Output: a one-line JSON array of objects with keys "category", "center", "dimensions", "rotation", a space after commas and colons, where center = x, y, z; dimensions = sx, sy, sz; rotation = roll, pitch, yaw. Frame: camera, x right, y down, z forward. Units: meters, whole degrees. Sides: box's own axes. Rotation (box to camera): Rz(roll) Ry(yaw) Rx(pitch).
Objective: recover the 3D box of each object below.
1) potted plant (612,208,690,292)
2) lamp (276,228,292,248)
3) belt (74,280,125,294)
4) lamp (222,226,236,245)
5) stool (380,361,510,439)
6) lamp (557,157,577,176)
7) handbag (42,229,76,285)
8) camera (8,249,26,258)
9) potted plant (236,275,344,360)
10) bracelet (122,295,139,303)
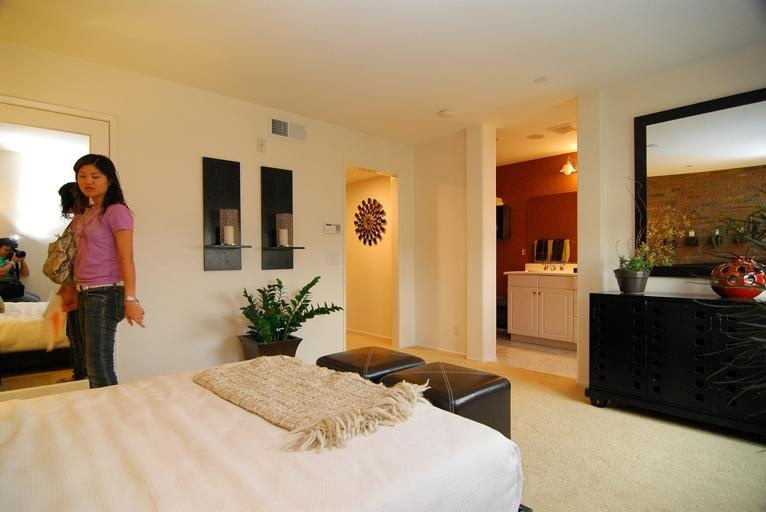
[{"category": "potted plant", "center": [2.395, -0.062, 4.448], "dimensions": [0.605, 0.761, 0.446], "rotation": [-8, 15, -32]}, {"category": "lamp", "center": [-1.045, -0.196, 5.127], "dimensions": [0.141, 0.184, 0.096], "rotation": [-3, 13, -14]}, {"category": "belt", "center": [-2.048, 0.217, 3.506], "dimensions": [0.318, 0.088, 0.079], "rotation": [-2, 12, -11]}, {"category": "lamp", "center": [-1.504, -0.198, 4.730], "dimensions": [0.126, 0.192, 0.076], "rotation": [-4, 13, -18]}, {"category": "stool", "center": [0.472, 0.949, 3.523], "dimensions": [0.689, 0.587, 0.683], "rotation": [-1, 1, -43]}, {"category": "lamp", "center": [2.526, -1.191, 6.617], "dimensions": [0.260, 0.296, 0.295], "rotation": [1, 4, 21]}, {"category": "handbag", "center": [-2.387, 0.003, 3.619], "dimensions": [0.226, 0.402, 0.196], "rotation": [-4, 13, -17]}, {"category": "camera", "center": [-3.052, -0.019, 4.066], "dimensions": [0.064, 0.051, 0.088], "rotation": [1, 7, 20]}, {"category": "potted plant", "center": [-1.084, 0.632, 5.231], "dimensions": [0.860, 0.988, 0.854], "rotation": [1, -2, 32]}, {"category": "bracelet", "center": [-1.849, 0.310, 3.569], "dimensions": [0.080, 0.049, 0.073], "rotation": [2, -1, -38]}]
